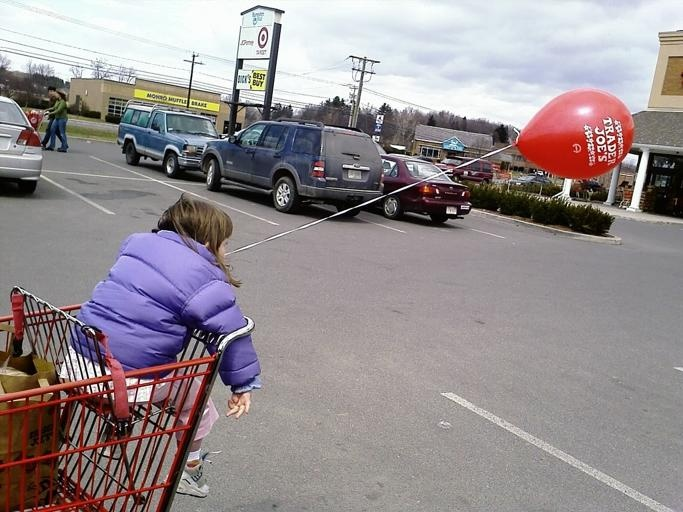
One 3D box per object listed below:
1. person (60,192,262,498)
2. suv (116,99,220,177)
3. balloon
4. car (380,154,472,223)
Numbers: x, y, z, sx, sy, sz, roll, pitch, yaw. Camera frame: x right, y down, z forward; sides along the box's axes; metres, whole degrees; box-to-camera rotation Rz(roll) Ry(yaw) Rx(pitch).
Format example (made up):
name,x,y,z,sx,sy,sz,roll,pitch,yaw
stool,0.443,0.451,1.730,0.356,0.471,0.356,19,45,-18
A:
name,x,y,z,sx,sy,sz,roll,pitch,yaw
person,-0.987,0.429,2.259,0.949,1.491,0.834,20,-9,-35
suv,-6.942,-4.701,18.263,5.079,2.723,2.940,23,23,37
balloon,2.745,-1.419,5.086,1.291,1.065,1.034,-4,23,-2
car,2.635,-2.430,15.679,2.011,1.521,4.383,-7,21,-27
